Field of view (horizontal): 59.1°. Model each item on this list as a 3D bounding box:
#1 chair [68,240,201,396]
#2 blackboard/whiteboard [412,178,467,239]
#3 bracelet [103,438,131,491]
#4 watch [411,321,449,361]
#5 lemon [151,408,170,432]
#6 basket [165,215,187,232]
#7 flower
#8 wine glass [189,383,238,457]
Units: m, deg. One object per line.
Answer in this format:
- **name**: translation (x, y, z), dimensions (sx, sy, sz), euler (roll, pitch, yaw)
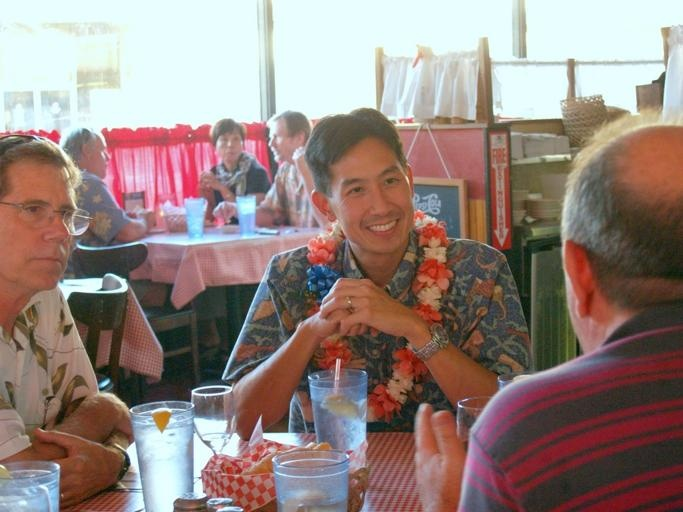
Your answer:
- **chair**: translation (-1.181, 0.312, 3.449), dimensions (0.724, 0.999, 0.789), euler (-9, 19, -28)
- **blackboard/whiteboard**: translation (0.576, -0.273, 3.403), dimensions (0.041, 0.373, 0.370), euler (-13, 25, -33)
- **bracelet**: translation (-0.529, 0.502, 1.459), dimensions (0.070, 0.094, 0.036), euler (-7, -15, 28)
- **watch**: translation (0.252, 0.247, 1.718), dimensions (0.102, 0.074, 0.114), euler (-37, 4, 34)
- **lemon**: translation (-0.335, 0.302, 1.122), dimensions (0.033, 0.037, 0.032), euler (4, 7, 44)
- **basket**: translation (-1.336, -0.263, 4.846), dimensions (0.155, 0.104, 0.157), euler (0, -4, -33)
- **flower**: translation (0.167, 0.159, 1.836), dimensions (0.417, 0.596, 0.153), euler (1, -8, 8)
- **wine glass**: translation (-0.274, 0.360, 1.283), dimensions (0.083, 0.184, 0.207), euler (-2, 5, -13)
